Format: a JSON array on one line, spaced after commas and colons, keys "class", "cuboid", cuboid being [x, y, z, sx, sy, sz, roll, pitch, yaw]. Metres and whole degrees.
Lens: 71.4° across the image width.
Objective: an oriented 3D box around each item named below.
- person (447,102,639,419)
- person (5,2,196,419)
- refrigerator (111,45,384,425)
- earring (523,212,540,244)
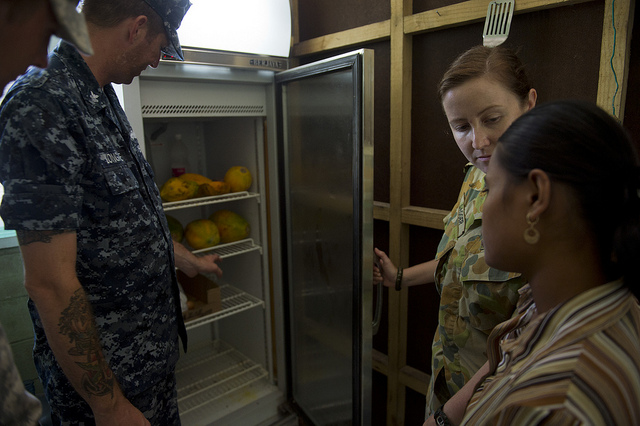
[{"class": "person", "cuboid": [0.555, 0.180, 1.120, 0.430, 0.881, 0.389, 0, 13, 20]}, {"class": "person", "cuboid": [-0.734, 0.075, 1.555, 0.337, 1.553, 0.573, 1, 13, 24]}, {"class": "refrigerator", "cuboid": [-0.372, 0.224, 2.340, 0.702, 2.108, 1.474, -16, 16, -43]}, {"class": "earring", "cuboid": [0.509, 0.035, 1.077, 0.036, 0.078, 0.007, 1, 13, 24]}]
